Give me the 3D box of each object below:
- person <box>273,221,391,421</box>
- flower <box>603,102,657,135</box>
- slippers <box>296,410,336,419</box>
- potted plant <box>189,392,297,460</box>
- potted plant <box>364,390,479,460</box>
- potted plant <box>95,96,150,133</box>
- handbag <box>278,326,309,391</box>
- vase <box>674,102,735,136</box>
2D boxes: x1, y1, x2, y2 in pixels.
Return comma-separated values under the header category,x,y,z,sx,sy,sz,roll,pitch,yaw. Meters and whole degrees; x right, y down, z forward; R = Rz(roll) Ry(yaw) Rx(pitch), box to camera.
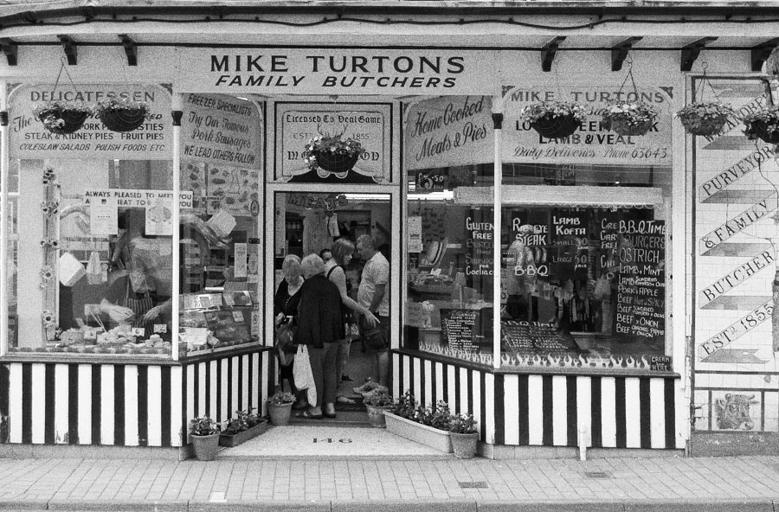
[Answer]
category,x,y,z,sx,sy,sz,roll,pitch,yaw
person,-0.713,0.985,17.613,1.407,2.563,0.795,0,1,-44
flower,2.981,-1.678,15.860,0.657,0.286,0.631,11,6,28
slippers,-1.042,2.198,17.474,0.583,0.161,0.234,2,1,19
potted plant,-1.969,2.309,16.825,0.447,0.546,1.953,5,6,28
potted plant,0.569,2.298,16.641,0.470,0.508,1.415,0,2,-41
potted plant,-3.364,-1.816,15.739,0.491,0.313,0.479,3,-1,-21
handbag,-1.245,1.427,17.524,0.301,0.824,0.662,4,6,8
vase,3.997,-1.781,15.862,0.728,0.439,0.748,7,10,20
